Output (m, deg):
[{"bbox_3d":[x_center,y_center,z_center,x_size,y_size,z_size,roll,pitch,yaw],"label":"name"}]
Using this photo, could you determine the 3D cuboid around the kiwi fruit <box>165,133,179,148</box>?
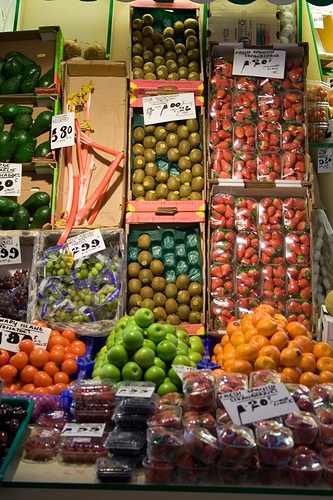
[{"bbox_3d":[0.051,-0.884,2.872,0.085,0.112,0.061,4,-6,0],"label":"kiwi fruit"}]

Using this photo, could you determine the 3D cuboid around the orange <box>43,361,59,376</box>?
[{"bbox_3d":[-0.548,0.559,1.687,0.060,0.080,0.059,12,-28,3],"label":"orange"}]

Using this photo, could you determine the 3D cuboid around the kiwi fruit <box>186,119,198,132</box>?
[{"bbox_3d":[0.213,-1.012,2.922,0.098,0.116,0.096,-4,-4,-19],"label":"kiwi fruit"}]

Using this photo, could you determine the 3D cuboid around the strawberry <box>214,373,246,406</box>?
[{"bbox_3d":[0.207,0.443,1.142,0.069,0.033,0.097,-2,-4,-1],"label":"strawberry"}]

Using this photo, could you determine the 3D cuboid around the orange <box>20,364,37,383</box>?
[{"bbox_3d":[-0.641,0.571,1.645,0.073,0.088,0.074,2,1,5],"label":"orange"}]

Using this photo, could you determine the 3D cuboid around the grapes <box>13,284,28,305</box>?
[{"bbox_3d":[-0.895,0.268,2.187,0.077,0.101,0.033,4,-33,-18],"label":"grapes"}]

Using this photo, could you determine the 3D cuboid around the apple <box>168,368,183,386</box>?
[{"bbox_3d":[0.031,0.478,1.340,0.061,0.061,0.073,-3,17,-3],"label":"apple"}]

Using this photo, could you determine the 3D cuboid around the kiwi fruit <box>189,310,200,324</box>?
[{"bbox_3d":[0.196,0.455,2.446,0.072,0.088,0.073,-3,-3,26],"label":"kiwi fruit"}]

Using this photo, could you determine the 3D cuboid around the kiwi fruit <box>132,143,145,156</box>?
[{"bbox_3d":[-0.233,-0.820,2.894,0.090,0.091,0.050,-2,-5,21],"label":"kiwi fruit"}]

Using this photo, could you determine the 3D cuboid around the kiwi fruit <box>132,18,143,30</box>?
[{"bbox_3d":[-0.255,-2.004,3.153,0.093,0.087,0.111,-5,35,-9],"label":"kiwi fruit"}]

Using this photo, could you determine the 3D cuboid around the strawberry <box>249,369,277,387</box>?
[{"bbox_3d":[0.311,0.403,1.141,0.052,0.021,0.065,-5,1,2],"label":"strawberry"}]

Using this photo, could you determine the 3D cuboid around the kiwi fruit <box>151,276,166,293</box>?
[{"bbox_3d":[-0.053,0.232,2.537,0.094,0.111,0.092,1,-11,-8],"label":"kiwi fruit"}]

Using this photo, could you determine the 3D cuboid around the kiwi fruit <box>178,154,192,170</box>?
[{"bbox_3d":[0.151,-0.699,2.807,0.084,0.108,0.084,1,11,0],"label":"kiwi fruit"}]

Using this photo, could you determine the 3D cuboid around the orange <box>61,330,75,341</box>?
[{"bbox_3d":[-0.557,0.481,2.037,0.062,0.071,0.062,6,5,0],"label":"orange"}]

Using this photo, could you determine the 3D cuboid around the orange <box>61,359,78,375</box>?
[{"bbox_3d":[-0.468,0.561,1.721,0.070,0.081,0.070,1,-6,-19],"label":"orange"}]

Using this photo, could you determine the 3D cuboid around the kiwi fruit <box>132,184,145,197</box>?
[{"bbox_3d":[-0.224,-0.460,2.749,0.095,0.095,0.052,-4,-7,10],"label":"kiwi fruit"}]

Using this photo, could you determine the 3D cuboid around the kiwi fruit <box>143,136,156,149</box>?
[{"bbox_3d":[-0.136,-0.873,2.942,0.095,0.107,0.096,16,49,3],"label":"kiwi fruit"}]

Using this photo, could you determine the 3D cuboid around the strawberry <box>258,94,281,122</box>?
[{"bbox_3d":[0.839,-1.152,2.835,0.180,0.225,0.076,3,3,2],"label":"strawberry"}]

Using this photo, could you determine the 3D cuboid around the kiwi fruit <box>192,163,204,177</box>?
[{"bbox_3d":[0.247,-0.625,2.795,0.087,0.101,0.088,-1,-2,21],"label":"kiwi fruit"}]

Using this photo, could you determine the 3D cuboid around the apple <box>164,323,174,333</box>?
[{"bbox_3d":[0.015,0.331,1.530,0.038,0.045,0.038,3,11,16],"label":"apple"}]

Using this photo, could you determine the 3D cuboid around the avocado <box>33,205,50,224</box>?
[{"bbox_3d":[-0.910,-0.263,2.649,0.077,0.157,0.077,33,-13,-38],"label":"avocado"}]

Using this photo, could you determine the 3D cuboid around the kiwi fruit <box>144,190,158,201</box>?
[{"bbox_3d":[-0.113,-0.415,2.734,0.077,0.092,0.080,5,12,-37],"label":"kiwi fruit"}]

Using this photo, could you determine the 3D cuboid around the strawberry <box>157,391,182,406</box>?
[{"bbox_3d":[0.011,0.493,1.189,0.051,0.025,0.056,0,-4,-2],"label":"strawberry"}]

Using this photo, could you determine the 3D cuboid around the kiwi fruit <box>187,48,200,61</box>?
[{"bbox_3d":[0.234,-1.691,3.114,0.090,0.093,0.096,-3,26,49],"label":"kiwi fruit"}]

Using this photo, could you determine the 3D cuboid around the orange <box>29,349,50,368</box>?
[{"bbox_3d":[-0.605,0.509,1.691,0.083,0.092,0.080,-3,-7,-7],"label":"orange"}]

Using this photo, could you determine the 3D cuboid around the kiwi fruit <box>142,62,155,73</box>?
[{"bbox_3d":[-0.153,-1.574,3.067,0.085,0.102,0.083,6,16,26],"label":"kiwi fruit"}]

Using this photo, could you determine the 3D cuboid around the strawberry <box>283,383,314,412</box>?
[{"bbox_3d":[0.429,0.461,1.134,0.059,0.027,0.078,-1,8,1],"label":"strawberry"}]

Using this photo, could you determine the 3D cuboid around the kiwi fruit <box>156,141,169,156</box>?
[{"bbox_3d":[-0.039,-0.807,2.879,0.106,0.122,0.104,6,-8,-44],"label":"kiwi fruit"}]

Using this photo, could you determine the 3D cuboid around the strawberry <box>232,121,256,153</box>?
[{"bbox_3d":[0.618,-0.891,2.813,0.176,0.232,0.158,1,15,10],"label":"strawberry"}]

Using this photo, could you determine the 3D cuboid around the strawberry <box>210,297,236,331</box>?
[{"bbox_3d":[0.384,0.426,2.371,0.148,0.188,0.063,2,-9,-3],"label":"strawberry"}]

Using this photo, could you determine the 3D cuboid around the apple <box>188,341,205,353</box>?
[{"bbox_3d":[0.158,0.486,1.826,0.060,0.071,0.058,-4,44,20],"label":"apple"}]

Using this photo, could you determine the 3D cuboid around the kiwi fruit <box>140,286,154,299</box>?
[{"bbox_3d":[-0.134,0.289,2.457,0.076,0.088,0.075,13,-21,-12],"label":"kiwi fruit"}]

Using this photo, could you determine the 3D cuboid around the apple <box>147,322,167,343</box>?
[{"bbox_3d":[-0.039,0.312,1.360,0.067,0.067,0.067,0,4,-37],"label":"apple"}]

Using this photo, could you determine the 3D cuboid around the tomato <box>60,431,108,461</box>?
[{"bbox_3d":[-0.256,0.612,1.099,0.120,0.043,0.092,1,6,5],"label":"tomato"}]

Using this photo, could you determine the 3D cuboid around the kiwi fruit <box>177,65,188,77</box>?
[{"bbox_3d":[0.144,-1.517,3.046,0.086,0.086,0.045,-4,-5,8],"label":"kiwi fruit"}]

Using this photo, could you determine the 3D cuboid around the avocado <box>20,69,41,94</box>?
[{"bbox_3d":[-1.138,-1.409,3.010,0.115,0.256,0.109,16,-1,-11],"label":"avocado"}]

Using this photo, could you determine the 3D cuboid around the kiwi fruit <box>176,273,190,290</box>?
[{"bbox_3d":[0.114,0.220,2.499,0.090,0.112,0.094,2,-3,31],"label":"kiwi fruit"}]

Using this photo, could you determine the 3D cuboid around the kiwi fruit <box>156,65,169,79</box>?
[{"bbox_3d":[-0.037,-1.516,3.033,0.099,0.123,0.078,-2,14,-1],"label":"kiwi fruit"}]

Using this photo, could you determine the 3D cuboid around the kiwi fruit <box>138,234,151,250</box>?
[{"bbox_3d":[-0.161,-0.065,2.671,0.098,0.117,0.097,-1,-8,7],"label":"kiwi fruit"}]

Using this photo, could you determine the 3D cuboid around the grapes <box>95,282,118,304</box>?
[{"bbox_3d":[-0.380,0.262,2.211,0.087,0.118,0.043,6,-26,22],"label":"grapes"}]

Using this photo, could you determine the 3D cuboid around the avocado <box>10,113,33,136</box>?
[{"bbox_3d":[-1.181,-1.022,2.936,0.109,0.222,0.115,32,-5,-29],"label":"avocado"}]

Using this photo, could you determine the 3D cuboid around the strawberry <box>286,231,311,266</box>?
[{"bbox_3d":[0.950,-0.017,2.535,0.174,0.219,0.067,-1,-7,6],"label":"strawberry"}]

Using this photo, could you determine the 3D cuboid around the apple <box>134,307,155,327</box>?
[{"bbox_3d":[-0.085,0.259,1.434,0.072,0.068,0.070,-10,16,-43],"label":"apple"}]

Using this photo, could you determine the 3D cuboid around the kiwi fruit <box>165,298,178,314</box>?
[{"bbox_3d":[0.035,0.375,2.424,0.074,0.093,0.072,4,-8,-6],"label":"kiwi fruit"}]

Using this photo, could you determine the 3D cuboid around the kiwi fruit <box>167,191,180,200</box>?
[{"bbox_3d":[0.054,-0.419,2.719,0.073,0.088,0.073,4,-3,-8],"label":"kiwi fruit"}]

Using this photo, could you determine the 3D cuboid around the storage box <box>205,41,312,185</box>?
[{"bbox_3d":[0.723,-1.119,2.652,0.838,1.197,0.354,1,-10,2],"label":"storage box"}]

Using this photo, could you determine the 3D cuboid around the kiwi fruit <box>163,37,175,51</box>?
[{"bbox_3d":[0.026,-1.798,3.110,0.097,0.114,0.098,3,22,5],"label":"kiwi fruit"}]

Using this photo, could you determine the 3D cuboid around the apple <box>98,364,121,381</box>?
[{"bbox_3d":[-0.207,0.444,1.299,0.059,0.070,0.059,2,1,3],"label":"apple"}]

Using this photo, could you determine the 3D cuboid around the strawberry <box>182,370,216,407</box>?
[{"bbox_3d":[0.101,0.415,1.108,0.074,0.034,0.102,-6,19,4],"label":"strawberry"}]

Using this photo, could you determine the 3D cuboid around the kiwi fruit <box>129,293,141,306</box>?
[{"bbox_3d":[-0.212,0.337,2.440,0.073,0.072,0.096,-34,14,-6],"label":"kiwi fruit"}]
